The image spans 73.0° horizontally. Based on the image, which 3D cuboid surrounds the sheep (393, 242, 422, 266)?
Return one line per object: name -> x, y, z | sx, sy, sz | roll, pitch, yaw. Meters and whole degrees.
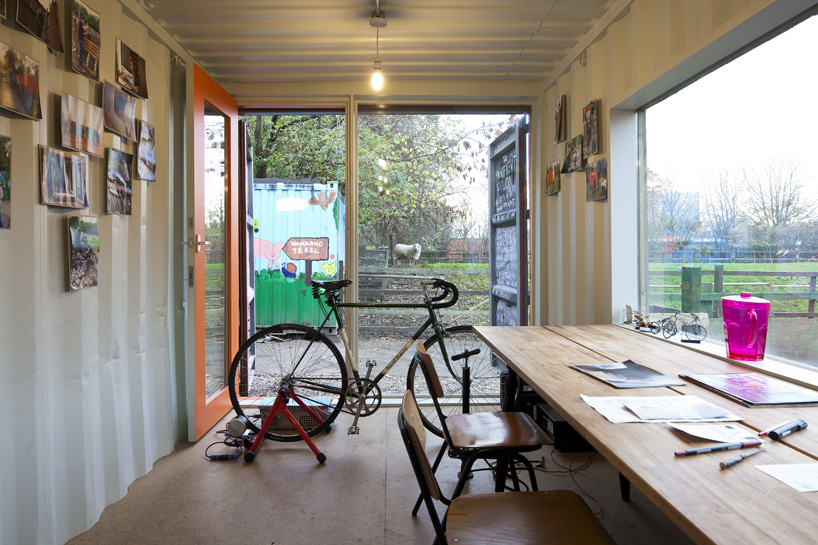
sheep -> -0.028, -0.205, 5.534 | 0.307, 0.197, 0.125 | -1, 3, -7
